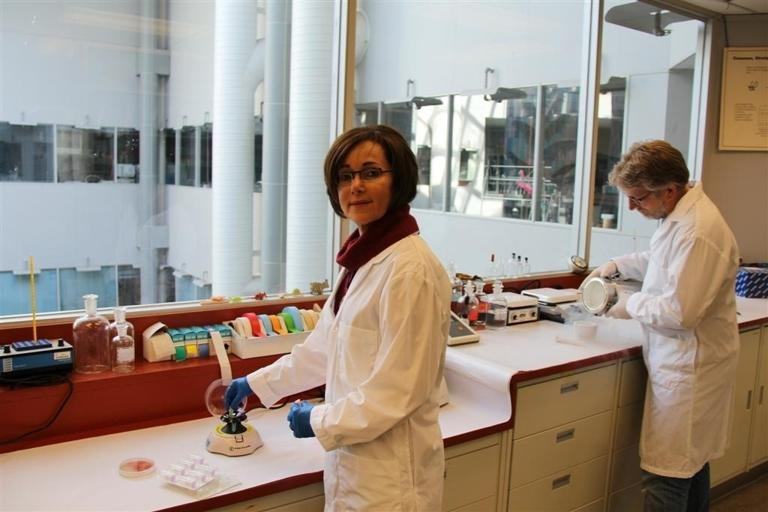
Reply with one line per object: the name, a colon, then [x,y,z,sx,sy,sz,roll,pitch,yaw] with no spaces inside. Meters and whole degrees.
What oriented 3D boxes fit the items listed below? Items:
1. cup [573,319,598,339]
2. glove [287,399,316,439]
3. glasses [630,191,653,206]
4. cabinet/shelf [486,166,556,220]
cup: [1.119,0.412,3.323,0.107,0.080,0.109,0,-2,0]
glove: [-0.299,0.603,2.215,0.109,0.138,0.140,-9,11,-7]
glasses: [1.346,-0.297,3.096,0.019,0.067,0.065,42,2,15]
cabinet/shelf: [1.071,-0.517,4.737,0.220,0.453,0.700,-7,8,-23]
